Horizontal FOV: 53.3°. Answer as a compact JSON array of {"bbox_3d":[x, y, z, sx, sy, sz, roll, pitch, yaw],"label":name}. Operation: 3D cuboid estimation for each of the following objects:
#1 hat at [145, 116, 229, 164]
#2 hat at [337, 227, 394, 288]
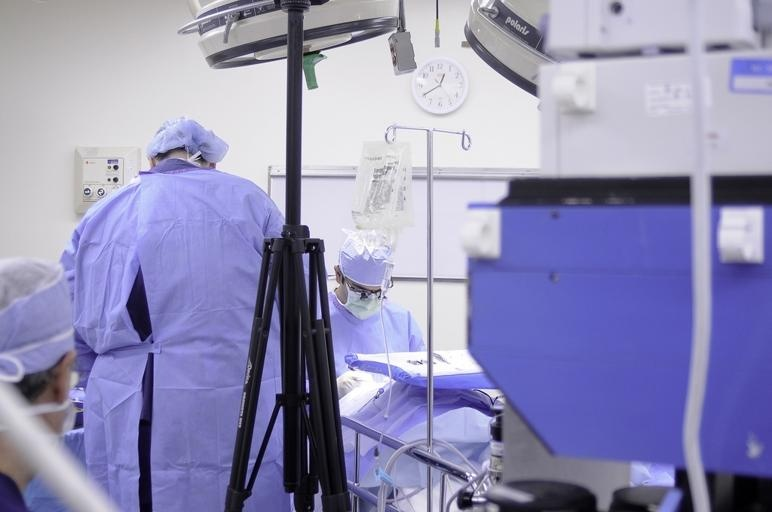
[{"bbox_3d":[-0.676,-0.394,2.686,0.168,0.082,0.179,15,10,3],"label":"hat"},{"bbox_3d":[-0.073,0.002,3.214,0.187,0.229,0.242,5,4,-23],"label":"hat"}]
